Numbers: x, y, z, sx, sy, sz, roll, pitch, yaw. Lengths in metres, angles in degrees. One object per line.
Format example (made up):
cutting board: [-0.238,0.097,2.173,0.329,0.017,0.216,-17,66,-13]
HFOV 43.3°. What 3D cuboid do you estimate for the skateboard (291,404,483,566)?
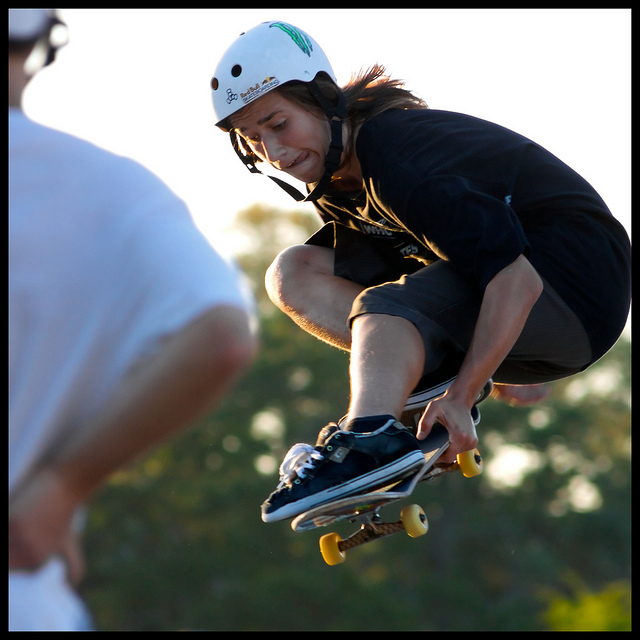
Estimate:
skateboard: [0.355,0.593,2.843,0.395,0.183,0.977,-13,6,38]

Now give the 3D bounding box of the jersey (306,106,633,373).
jersey: [0.653,-0.277,2.878,1.198,0.601,1.052,-1,-5,-17]

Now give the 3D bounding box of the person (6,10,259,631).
person: [-0.313,-0.005,1.297,0.415,0.711,0.711,-5,32,-5]
